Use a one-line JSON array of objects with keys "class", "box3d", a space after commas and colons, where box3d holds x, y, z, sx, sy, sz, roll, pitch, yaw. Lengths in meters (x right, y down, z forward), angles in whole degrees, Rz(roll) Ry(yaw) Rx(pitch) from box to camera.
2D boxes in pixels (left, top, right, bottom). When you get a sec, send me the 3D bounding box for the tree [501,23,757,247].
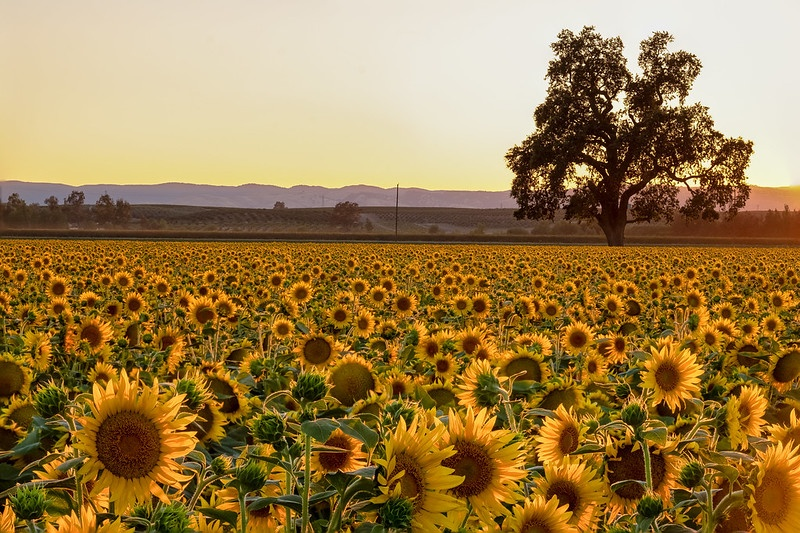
[{"class": "tree", "box3d": [16.954, -8.574, 45.319, 15.790, 16.698, 11.990, 0, -10, 3]}]
